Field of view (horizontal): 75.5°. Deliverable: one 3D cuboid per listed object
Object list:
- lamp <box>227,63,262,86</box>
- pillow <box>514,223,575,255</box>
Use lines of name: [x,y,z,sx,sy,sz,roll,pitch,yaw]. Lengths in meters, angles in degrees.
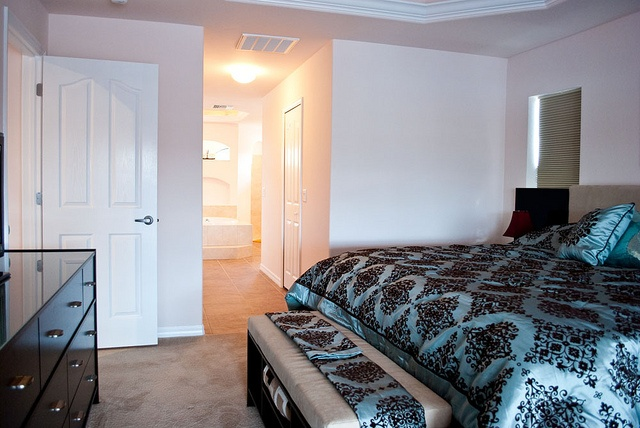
lamp: [-0.978,-1.819,5.447,0.399,0.181,0.395,0,7,-18]
pillow: [2.035,0.231,3.759,0.273,0.074,0.316,-29,3,-15]
